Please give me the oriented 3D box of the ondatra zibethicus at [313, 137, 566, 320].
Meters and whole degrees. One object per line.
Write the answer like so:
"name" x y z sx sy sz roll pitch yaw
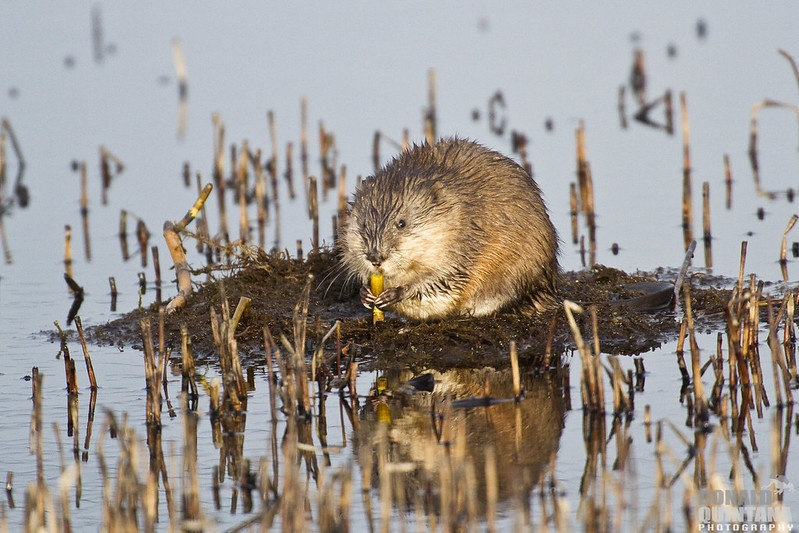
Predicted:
"ondatra zibethicus" 0.489 -0.279 14.479 1.634 1.986 3.012 2 0 36
